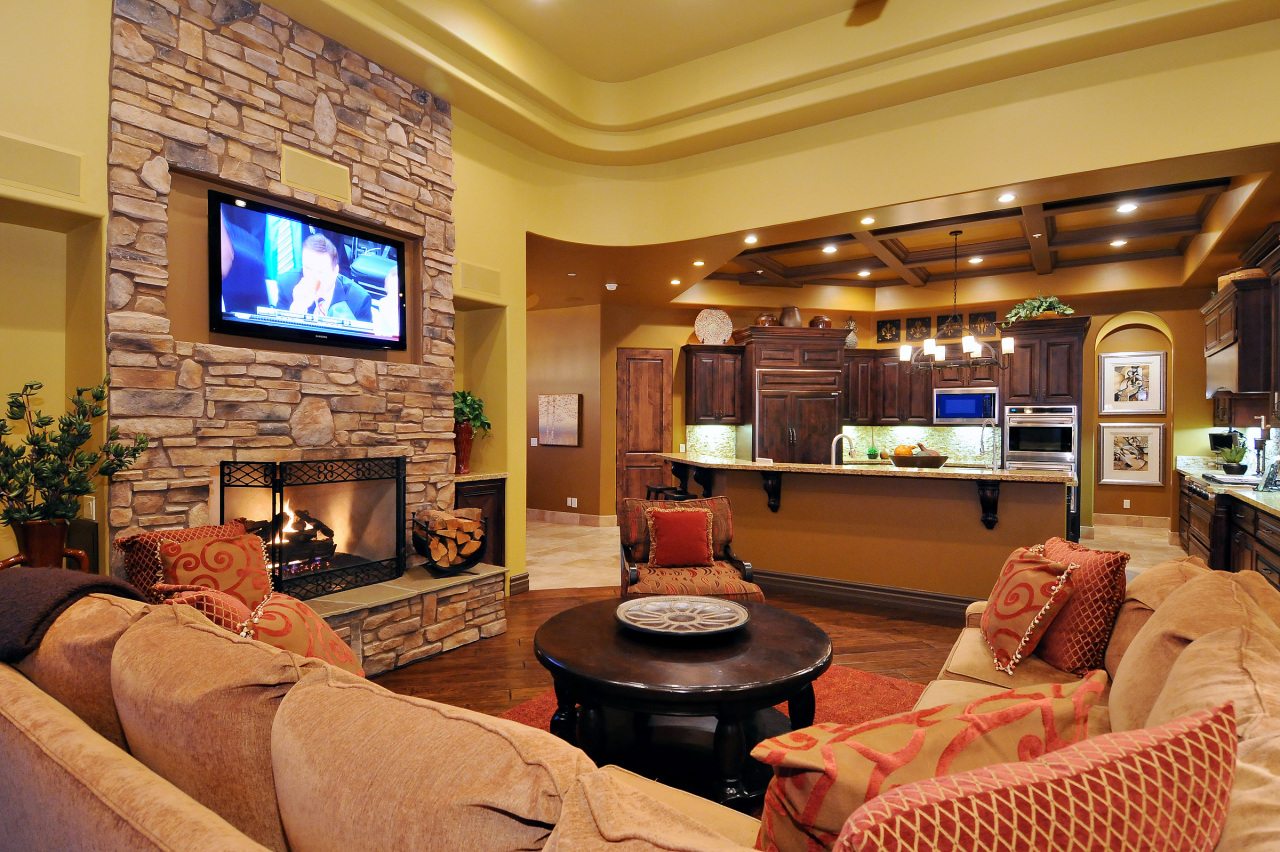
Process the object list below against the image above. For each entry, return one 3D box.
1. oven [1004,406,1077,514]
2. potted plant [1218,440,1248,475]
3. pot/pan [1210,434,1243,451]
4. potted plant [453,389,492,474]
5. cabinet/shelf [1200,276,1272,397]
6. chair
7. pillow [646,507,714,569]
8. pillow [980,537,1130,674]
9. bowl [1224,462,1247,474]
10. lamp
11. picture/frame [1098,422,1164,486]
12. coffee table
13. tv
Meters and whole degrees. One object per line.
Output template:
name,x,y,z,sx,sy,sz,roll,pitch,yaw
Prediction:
oven,4.530,0.131,8.976,0.806,0.762,0.359,-2,1,29
potted plant,5.553,0.287,7.287,0.362,0.324,0.334,1,0,29
pot/pan,6.194,0.173,8.344,0.114,0.124,0.200,-1,1,-24
potted plant,-1.398,0.034,6.678,0.290,0.682,0.427,-2,0,-5
cabinet/shelf,5.235,-0.771,6.926,0.493,1.112,1.480,0,0,26
chair,0.274,0.839,5.330,0.852,0.684,0.746,0,-6,-5
pillow,0.277,0.772,5.374,0.429,0.342,0.133,0,-19,-3
pillow,1.907,0.829,3.878,0.591,0.664,0.945,1,-3,-9
bowl,5.434,0.389,7.213,0.159,0.097,0.140,-2,0,32
lamp,3.663,-1.480,9.040,1.496,1.615,1.381,-1,5,-2
picture/frame,6.118,0.335,9.806,0.889,0.962,0.113,1,2,35
coffee table,0.187,1.216,3.447,1.049,0.376,0.968,0,2,-7
tv,-2.171,-0.992,5.047,0.094,0.731,1.376,0,-1,41
